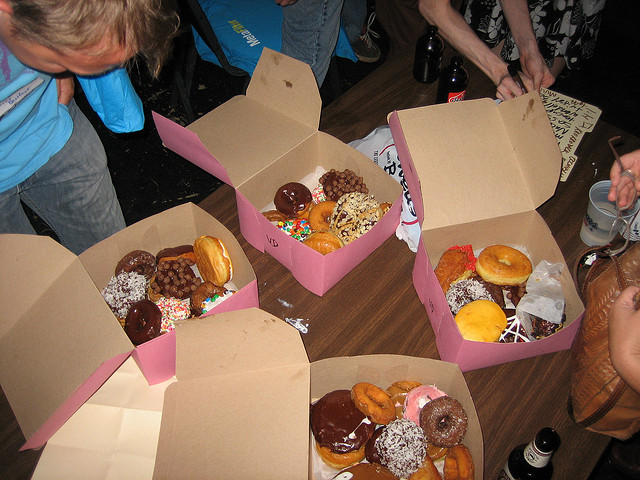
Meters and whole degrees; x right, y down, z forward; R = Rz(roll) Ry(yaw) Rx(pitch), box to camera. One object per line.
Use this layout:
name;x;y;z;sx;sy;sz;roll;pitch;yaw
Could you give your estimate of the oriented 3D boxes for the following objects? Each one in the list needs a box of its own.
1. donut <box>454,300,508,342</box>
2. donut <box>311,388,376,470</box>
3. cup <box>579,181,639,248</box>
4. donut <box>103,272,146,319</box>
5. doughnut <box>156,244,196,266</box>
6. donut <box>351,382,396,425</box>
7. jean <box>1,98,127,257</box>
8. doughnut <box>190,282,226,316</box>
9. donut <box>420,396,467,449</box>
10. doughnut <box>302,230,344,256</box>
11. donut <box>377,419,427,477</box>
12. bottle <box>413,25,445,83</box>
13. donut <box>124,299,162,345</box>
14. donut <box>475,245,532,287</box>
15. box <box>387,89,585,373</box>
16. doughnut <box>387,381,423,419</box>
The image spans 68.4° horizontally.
donut;0.439;0.225;1.282;0.140;0.041;0.115;-13;55;-8
donut;0.052;0.505;1.284;0.161;0.153;0.171;-9;46;-9
cup;0.876;-0.070;1.417;0.117;0.132;0.121;3;52;-4
donut;-0.582;0.173;1.424;0.114;0.044;0.136;26;74;5
doughnut;-0.455;0.040;1.480;0.085;0.030;0.068;-8;32;-27
donut;0.138;0.415;1.194;0.111;0.039;0.084;35;34;7
jean;-0.894;-0.178;1.746;0.309;0.546;0.397;-10;37;-18
doughnut;-0.335;0.160;1.381;0.078;0.037;0.098;21;68;9
donut;0.304;0.457;1.175;0.102;0.073;0.101;-17;55;-11
doughnut;0.010;0.005;1.445;0.101;0.036;0.099;-35;61;-22
donut;0.201;0.516;1.170;0.120;0.075;0.113;15;56;11
bottle;0.428;-0.729;1.851;0.129;0.199;0.131;-1;43;1
donut;-0.501;0.236;1.325;0.099;0.040;0.107;-10;70;14
donut;0.550;0.080;1.391;0.121;0.043;0.118;-25;46;-23
box;0.492;-0.009;1.571;0.493;0.390;0.820;-12;62;-3
doughnut;0.213;0.403;1.189;0.079;0.036;0.084;1;45;5
